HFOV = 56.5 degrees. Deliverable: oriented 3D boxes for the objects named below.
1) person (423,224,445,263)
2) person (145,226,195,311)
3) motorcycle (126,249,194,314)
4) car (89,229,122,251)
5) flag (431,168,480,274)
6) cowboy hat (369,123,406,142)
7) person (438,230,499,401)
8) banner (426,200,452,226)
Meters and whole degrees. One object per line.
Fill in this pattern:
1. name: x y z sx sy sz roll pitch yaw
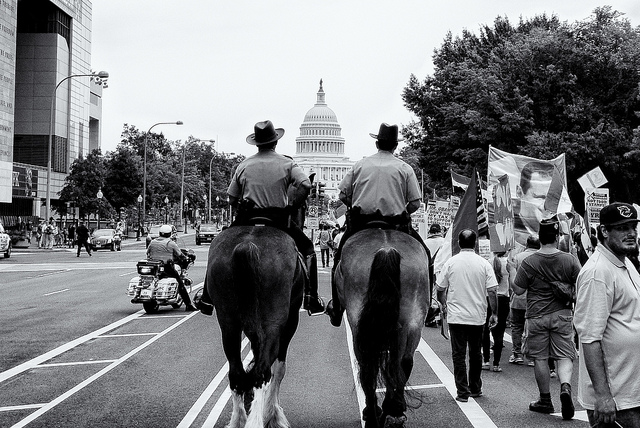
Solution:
1. person: 2.762 0.711 14.281 0.195 0.847 0.445 7 -24 3
2. person: -4.211 1.454 16.592 1.099 2.190 0.519 0 0 -17
3. motorcycle: -4.653 1.972 17.937 1.456 2.112 3.287 2 -4 4
4. car: -18.257 2.290 50.941 2.088 1.782 2.389 0 0 -5
5. flag: 3.169 0.189 13.081 1.157 2.736 0.318 -8 -40 34
6. cowboy hat: 0.916 -1.149 8.291 0.353 0.258 0.551 0 0 1
7. person: 2.372 1.544 9.331 1.049 1.926 0.677 0 0 -32
8. banner: 4.249 -0.013 21.213 0.942 1.076 0.115 2 6 -1
